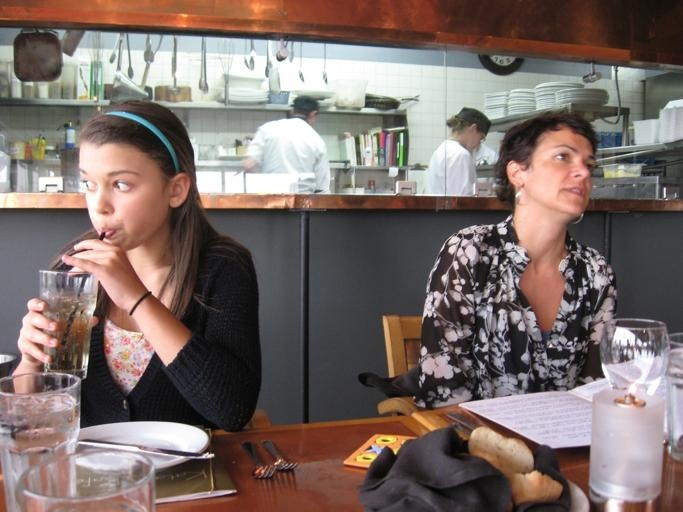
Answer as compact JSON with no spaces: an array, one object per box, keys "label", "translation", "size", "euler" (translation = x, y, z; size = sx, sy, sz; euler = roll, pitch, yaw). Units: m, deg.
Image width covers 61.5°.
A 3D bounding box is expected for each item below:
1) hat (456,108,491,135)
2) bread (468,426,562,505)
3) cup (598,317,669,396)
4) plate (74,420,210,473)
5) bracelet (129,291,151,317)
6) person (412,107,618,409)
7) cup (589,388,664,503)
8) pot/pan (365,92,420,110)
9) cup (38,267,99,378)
[{"label":"hat","translation":[0.979,-1.039,4.310],"size":[0.250,0.130,0.176],"euler":[26,18,-28]},{"label":"bread","translation":[0.252,0.302,0.831],"size":[0.132,0.090,0.072],"euler":[-2,4,12]},{"label":"cup","translation":[0.511,0.174,0.997],"size":[0.104,0.114,0.096],"euler":[-3,4,0]},{"label":"plate","translation":[-0.336,0.319,1.007],"size":[0.150,0.020,0.148],"euler":[3,2,-26]},{"label":"bracelet","translation":[-0.446,0.115,1.304],"size":[0.012,0.050,0.052],"euler":[36,17,-14]},{"label":"person","translation":[0.545,-0.021,1.753],"size":[0.448,0.868,0.733],"euler":[0,5,35]},{"label":"cup","translation":[0.407,0.273,0.824],"size":[0.093,0.146,0.061],"euler":[0,5,31]},{"label":"pot/pan","translation":[0.356,-1.172,4.366],"size":[0.279,0.042,0.177],"euler":[0,2,-15]},{"label":"cup","translation":[-0.532,0.130,1.105],"size":[0.097,0.207,0.111],"euler":[0,5,32]}]
